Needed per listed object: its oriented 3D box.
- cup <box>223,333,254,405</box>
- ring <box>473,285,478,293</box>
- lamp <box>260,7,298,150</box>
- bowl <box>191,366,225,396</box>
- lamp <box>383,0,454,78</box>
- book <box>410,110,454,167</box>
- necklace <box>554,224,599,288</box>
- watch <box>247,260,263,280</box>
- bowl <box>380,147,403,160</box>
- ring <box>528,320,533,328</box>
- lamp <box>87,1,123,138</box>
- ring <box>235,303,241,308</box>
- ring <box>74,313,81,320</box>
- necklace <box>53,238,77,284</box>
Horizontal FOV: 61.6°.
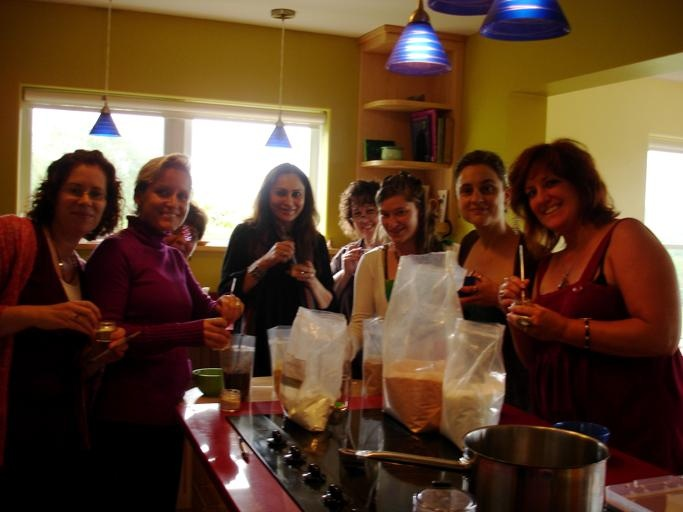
[{"bbox_3d":[-0.324,0.357,1.791,0.097,0.205,0.146,2,6,-11],"label":"cup"},{"bbox_3d":[0.502,0.123,2.142,0.020,0.024,0.009,2,6,-10],"label":"ring"},{"bbox_3d":[-0.488,-1.392,4.624,0.192,1.039,0.638,2,6,-6],"label":"lamp"},{"bbox_3d":[-0.434,0.423,1.952,0.124,0.073,0.126,1,-6,0],"label":"bowl"},{"bbox_3d":[0.350,-0.986,2.607,0.279,0.279,0.176,4,6,10],"label":"lamp"},{"bbox_3d":[0.732,-1.024,4.922,0.365,0.448,0.160,8,8,40],"label":"book"},{"bbox_3d":[0.777,0.003,1.891,0.057,0.209,0.043,-4,-25,22],"label":"necklace"},{"bbox_3d":[-0.399,0.060,2.742,0.069,0.077,0.076,-2,-11,26],"label":"watch"},{"bbox_3d":[0.425,-0.882,4.869,0.160,0.127,0.173,3,6,0],"label":"bowl"},{"bbox_3d":[0.554,0.201,1.692,0.023,0.022,0.006,1,8,10],"label":"ring"},{"bbox_3d":[-1.728,-1.386,4.187,0.171,1.025,0.696,0,7,-24],"label":"lamp"},{"bbox_3d":[-0.339,0.165,1.904,0.011,0.017,0.028,6,7,25],"label":"ring"},{"bbox_3d":[-0.789,0.184,1.728,0.016,0.016,0.012,4,6,14],"label":"ring"},{"bbox_3d":[-0.942,0.013,1.968,0.036,0.126,0.090,-18,-7,23],"label":"necklace"}]
